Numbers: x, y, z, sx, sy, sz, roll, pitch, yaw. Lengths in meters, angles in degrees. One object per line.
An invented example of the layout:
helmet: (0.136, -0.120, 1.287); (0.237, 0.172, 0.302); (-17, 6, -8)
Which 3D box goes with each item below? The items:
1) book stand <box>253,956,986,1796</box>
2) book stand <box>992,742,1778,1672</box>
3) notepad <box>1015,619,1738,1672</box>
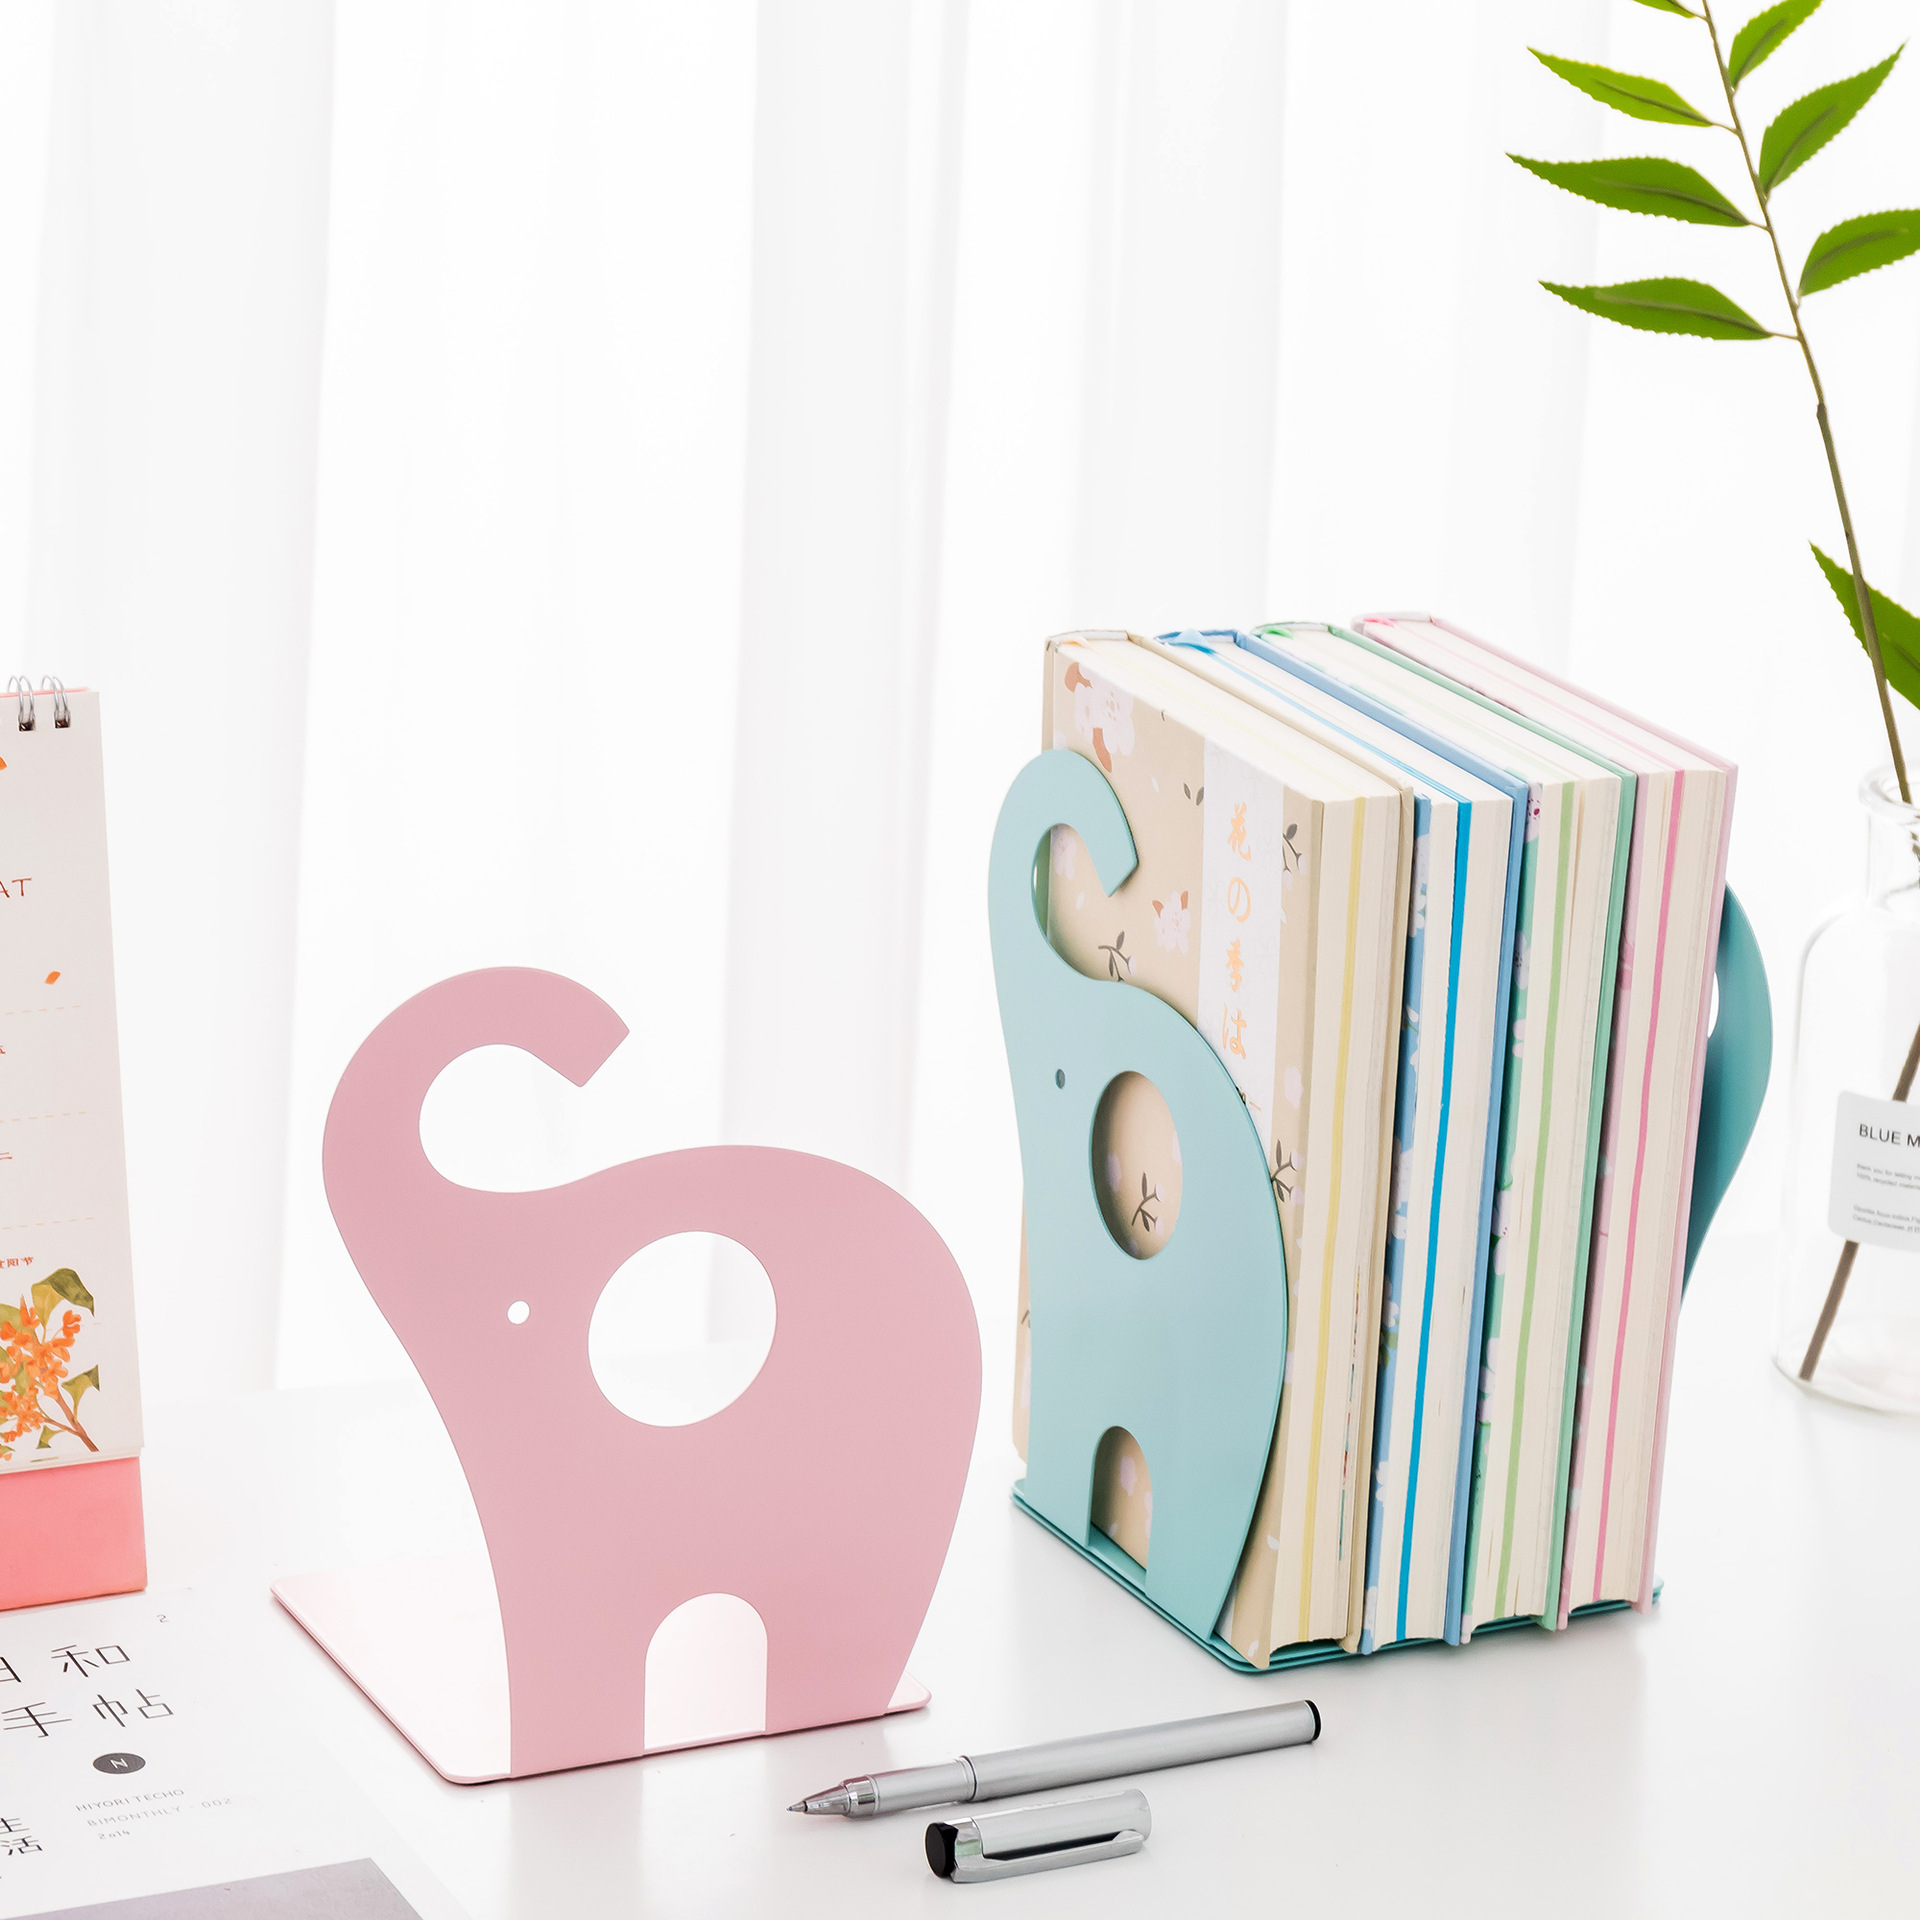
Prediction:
book stand: (-0.104, 0.099, 0.748); (0.224, 0.295, 0.204); (-2, 10, -21)
book stand: (0.141, 0.076, 0.787); (0.248, 0.305, 0.265); (9, 12, 36)
notepad: (0.150, 0.072, 0.785); (0.215, 0.305, 0.227); (-3, 14, -26)
